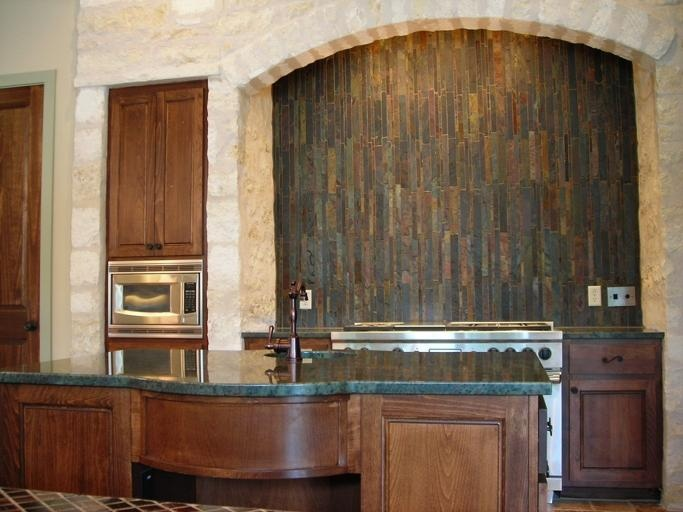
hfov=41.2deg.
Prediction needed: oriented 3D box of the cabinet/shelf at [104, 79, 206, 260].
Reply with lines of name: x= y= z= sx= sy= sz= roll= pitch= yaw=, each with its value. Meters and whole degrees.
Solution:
cabinet/shelf: x=-1.324 y=-0.601 z=6.480 sx=0.769 sy=1.264 sz=0.466 roll=3 pitch=14 yaw=0

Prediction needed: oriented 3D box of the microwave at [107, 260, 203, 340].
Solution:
microwave: x=-1.301 y=0.326 z=6.549 sx=0.822 sy=0.687 sz=0.487 roll=-1 pitch=-4 yaw=10

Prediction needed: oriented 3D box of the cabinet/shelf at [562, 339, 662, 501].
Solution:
cabinet/shelf: x=1.817 y=1.087 z=6.087 sx=0.686 sy=1.080 sz=0.238 roll=5 pitch=14 yaw=6
